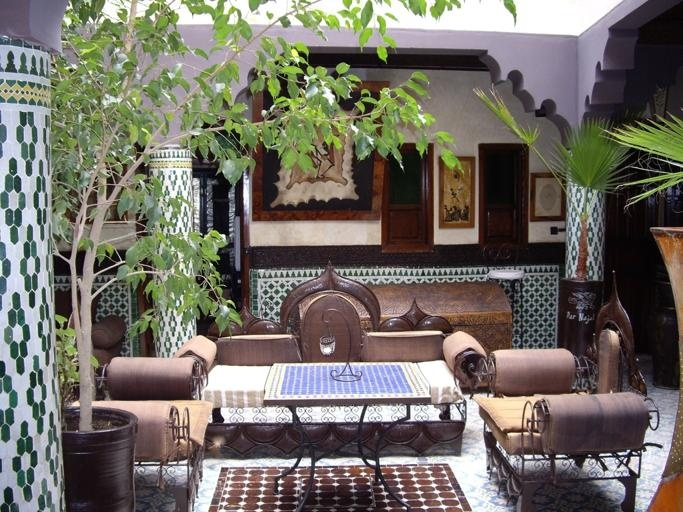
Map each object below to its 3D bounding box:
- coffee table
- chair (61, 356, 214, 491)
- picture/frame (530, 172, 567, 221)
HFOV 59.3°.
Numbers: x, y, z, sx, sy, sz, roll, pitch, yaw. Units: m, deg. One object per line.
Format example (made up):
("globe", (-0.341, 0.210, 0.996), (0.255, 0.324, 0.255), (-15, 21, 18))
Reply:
("coffee table", (0.027, 1.543, 5.105), (1.173, 1.160, 1.061), (0, 14, -2))
("chair", (-1.479, 1.195, 4.633), (0.835, 0.903, 1.043), (-1, -9, 1))
("picture/frame", (2.912, -0.866, 8.491), (0.622, 1.008, 0.068), (0, 1, -5))
